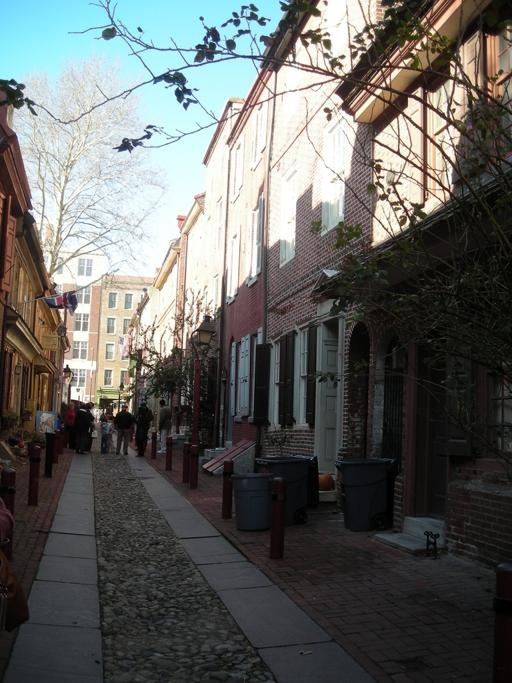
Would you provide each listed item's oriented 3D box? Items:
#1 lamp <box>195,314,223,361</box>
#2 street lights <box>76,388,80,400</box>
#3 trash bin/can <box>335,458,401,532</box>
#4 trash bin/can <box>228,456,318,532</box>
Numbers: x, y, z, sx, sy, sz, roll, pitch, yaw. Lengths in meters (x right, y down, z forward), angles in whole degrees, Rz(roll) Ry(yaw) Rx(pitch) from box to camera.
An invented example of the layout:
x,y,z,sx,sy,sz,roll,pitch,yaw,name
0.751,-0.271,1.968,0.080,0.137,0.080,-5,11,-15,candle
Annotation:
x,y,z,sx,sy,sz,roll,pitch,yaw,name
-1.552,-0.377,16.841,0.607,0.995,0.704,8,0,-5,lamp
-26.090,7.425,79.670,0.451,1.387,0.803,6,-12,-29,street lights
1.698,2.284,8.256,0.968,1.108,0.980,2,-7,-5,trash bin/can
0.158,2.274,8.382,1.357,1.037,1.005,6,-9,-33,trash bin/can
